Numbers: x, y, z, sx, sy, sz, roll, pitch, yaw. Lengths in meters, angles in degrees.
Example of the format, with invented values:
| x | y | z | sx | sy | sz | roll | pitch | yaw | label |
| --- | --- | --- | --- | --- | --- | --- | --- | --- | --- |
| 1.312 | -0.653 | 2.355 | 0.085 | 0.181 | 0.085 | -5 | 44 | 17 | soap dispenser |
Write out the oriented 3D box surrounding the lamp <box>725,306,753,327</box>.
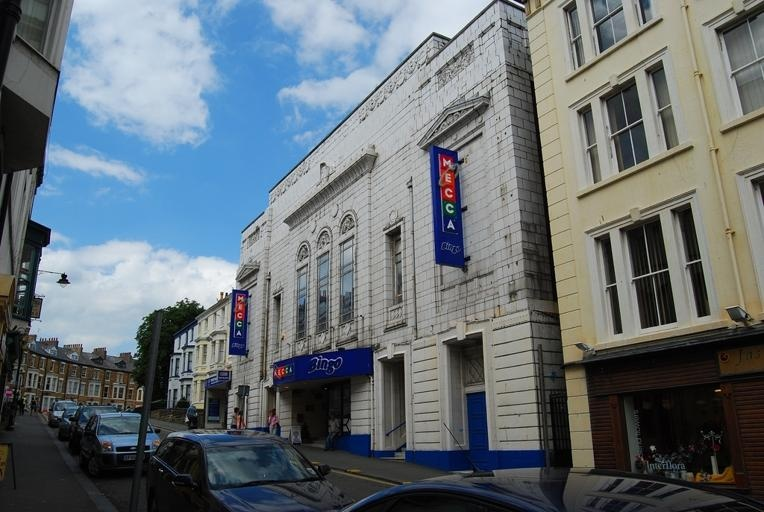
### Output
| x | y | z | sx | sy | sz | roll | pitch | yaw | label |
| --- | --- | --- | --- | --- | --- | --- | --- | --- | --- |
| 9.026 | 1.520 | 15.925 | 0.656 | 0.283 | 0.360 | 33 | -34 | -23 | lamp |
